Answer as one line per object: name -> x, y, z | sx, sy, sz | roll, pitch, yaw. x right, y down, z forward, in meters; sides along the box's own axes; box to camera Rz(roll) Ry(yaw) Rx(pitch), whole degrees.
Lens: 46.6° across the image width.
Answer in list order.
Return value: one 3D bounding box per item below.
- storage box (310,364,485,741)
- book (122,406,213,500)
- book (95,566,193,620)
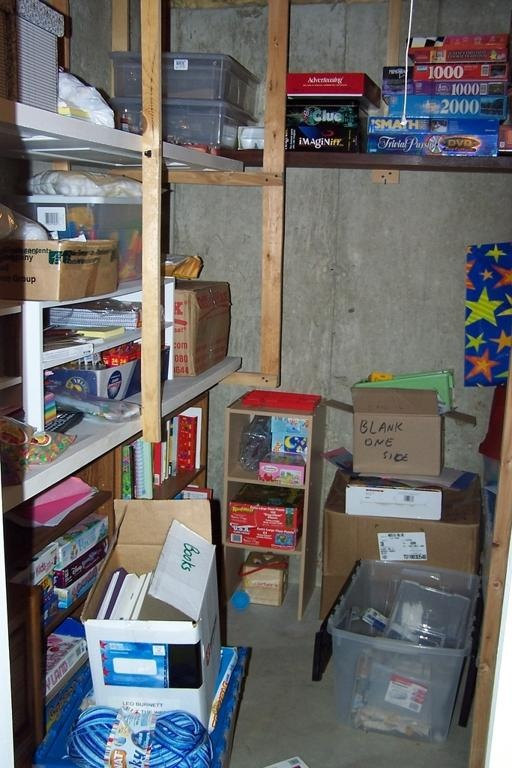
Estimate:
storage box -> 0.590, 0.568, 2.366 | 0.649, 0.486, 1.324 | 3, 44, 13
book -> -0.333, 0.259, 2.186 | 0.122, 0.370, 0.389 | 0, 14, 4
book -> -0.252, 0.492, 1.351 | 0.139, 0.052, 0.144 | 7, 17, 1
